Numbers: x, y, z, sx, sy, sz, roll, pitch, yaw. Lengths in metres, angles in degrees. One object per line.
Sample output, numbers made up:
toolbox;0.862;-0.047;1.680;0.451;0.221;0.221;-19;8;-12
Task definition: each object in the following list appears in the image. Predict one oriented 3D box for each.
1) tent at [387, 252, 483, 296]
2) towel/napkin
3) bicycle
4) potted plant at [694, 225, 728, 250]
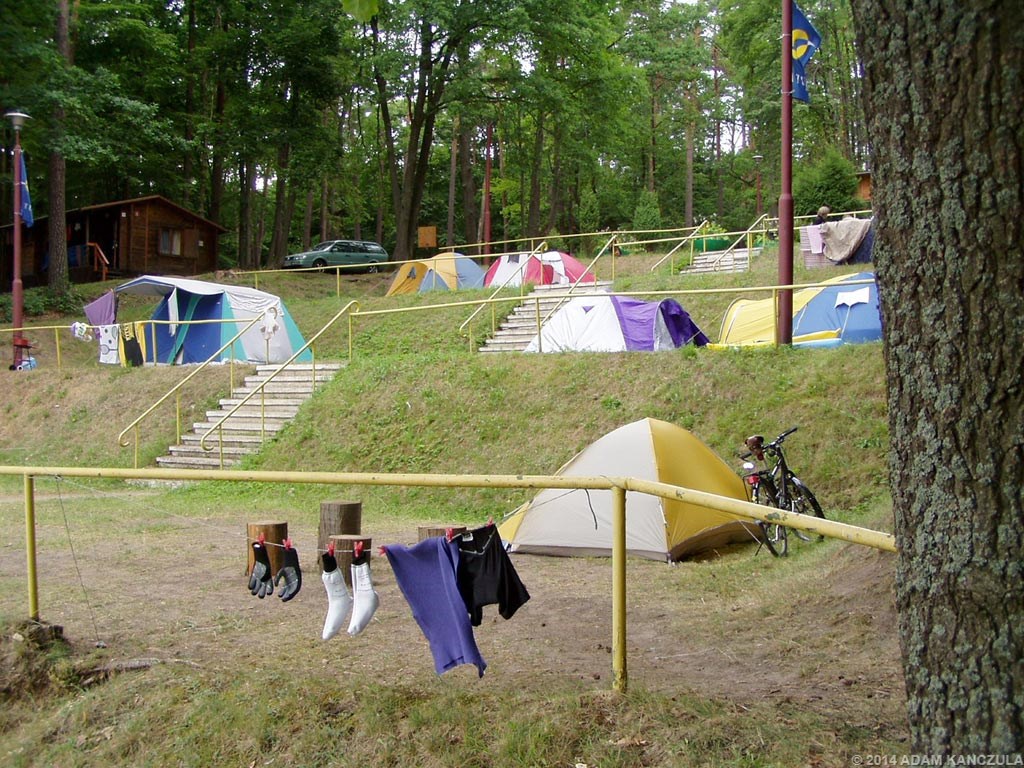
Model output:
tent;-2.204;-3.221;46.084;2.745;0.996;1.887;-2;1;-1
towel/napkin;-1.046;3.015;21.579;0.997;2.064;0.329;-16;15;-1
bicycle;4.299;1.729;26.178;1.113;1.498;2.350;-31;-4;30
potted plant;6.177;-4.419;49.647;1.058;0.544;1.084;5;10;39
